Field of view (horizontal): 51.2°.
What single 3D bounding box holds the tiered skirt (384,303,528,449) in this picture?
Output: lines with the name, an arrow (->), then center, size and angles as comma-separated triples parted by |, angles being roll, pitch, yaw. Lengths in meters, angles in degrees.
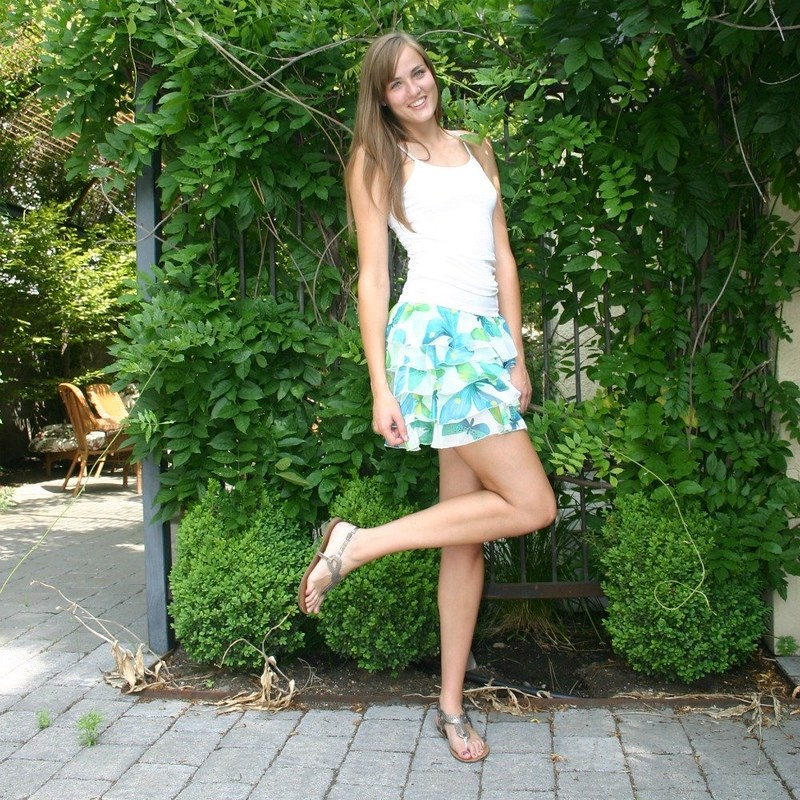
tiered skirt -> 0.198, -0.038, 2.064 | 0.451, 0.131, 0.308 | -8, 12, -1

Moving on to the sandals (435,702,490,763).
sandals -> 0.148, 0.860, 2.198 | 0.094, 0.066, 0.212 | -7, 14, -25

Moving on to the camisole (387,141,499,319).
camisole -> 0.112, -0.424, 2.128 | 0.280, 0.424, 0.155 | -3, 6, 0
